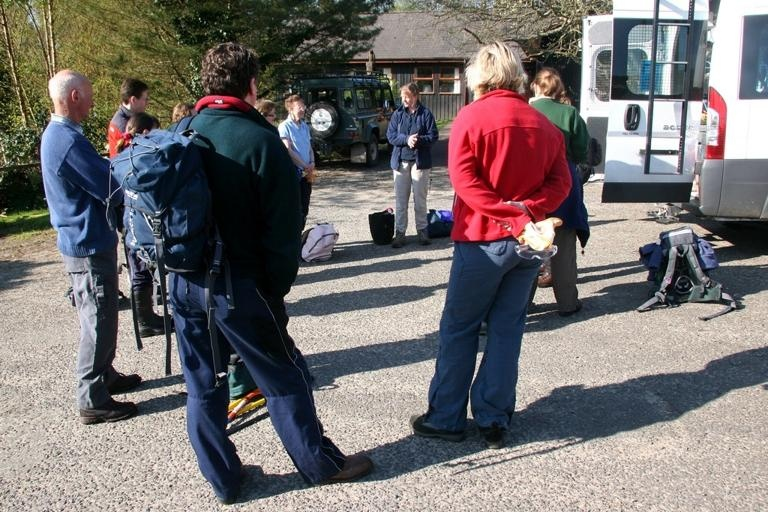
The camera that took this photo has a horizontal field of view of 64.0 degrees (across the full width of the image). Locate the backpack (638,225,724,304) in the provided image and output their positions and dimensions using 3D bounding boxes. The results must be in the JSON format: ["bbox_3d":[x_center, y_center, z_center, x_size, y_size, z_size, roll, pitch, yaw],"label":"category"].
[{"bbox_3d":[3.321,0.206,6.849,0.759,0.894,0.392,-9,-34,23],"label":"backpack"}]

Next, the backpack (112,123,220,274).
[{"bbox_3d":[-1.414,-0.332,3.997,0.655,0.900,0.252,2,14,16],"label":"backpack"}]

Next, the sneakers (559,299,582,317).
[{"bbox_3d":[2.013,0.561,6.652,0.331,0.140,0.124,-24,32,-28],"label":"sneakers"}]

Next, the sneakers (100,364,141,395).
[{"bbox_3d":[-2.339,1.105,5.483,0.343,0.159,0.142,-7,15,-26],"label":"sneakers"}]

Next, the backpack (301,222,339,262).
[{"bbox_3d":[-0.904,-0.176,8.503,0.534,0.512,0.451,6,-2,-24],"label":"backpack"}]

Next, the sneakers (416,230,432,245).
[{"bbox_3d":[0.595,-0.272,9.111,0.224,0.280,0.662,-2,1,-3],"label":"sneakers"}]

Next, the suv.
[{"bbox_3d":[-0.975,-3.921,17.206,1.998,1.973,3.711,6,19,21],"label":"suv"}]

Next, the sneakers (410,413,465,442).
[{"bbox_3d":[0.420,1.334,4.883,0.412,0.181,0.179,9,10,22],"label":"sneakers"}]

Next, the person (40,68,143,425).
[{"bbox_3d":[-2.438,-0.064,5.046,0.494,2.827,0.709,-9,15,-26],"label":"person"}]

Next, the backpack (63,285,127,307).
[{"bbox_3d":[-2.521,0.353,5.348,0.321,0.159,0.444,1,-4,1],"label":"backpack"}]

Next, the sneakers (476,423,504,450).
[{"bbox_3d":[0.836,1.383,4.781,0.105,0.103,0.263,-1,-4,-10],"label":"sneakers"}]

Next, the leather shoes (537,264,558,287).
[{"bbox_3d":[1.939,0.253,7.270,0.166,0.189,0.287,-1,2,23],"label":"leather shoes"}]

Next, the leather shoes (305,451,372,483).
[{"bbox_3d":[-0.325,1.526,4.460,0.422,0.173,0.156,-11,19,-31],"label":"leather shoes"}]

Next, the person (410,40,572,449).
[{"bbox_3d":[0.798,-0.068,4.642,1.077,2.966,0.623,2,14,15],"label":"person"}]

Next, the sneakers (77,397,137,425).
[{"bbox_3d":[-2.288,1.286,5.082,0.410,0.193,0.189,-5,12,-19],"label":"sneakers"}]

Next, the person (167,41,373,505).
[{"bbox_3d":[-0.907,0.171,4.216,1.109,3.091,0.625,-5,14,-13],"label":"person"}]
